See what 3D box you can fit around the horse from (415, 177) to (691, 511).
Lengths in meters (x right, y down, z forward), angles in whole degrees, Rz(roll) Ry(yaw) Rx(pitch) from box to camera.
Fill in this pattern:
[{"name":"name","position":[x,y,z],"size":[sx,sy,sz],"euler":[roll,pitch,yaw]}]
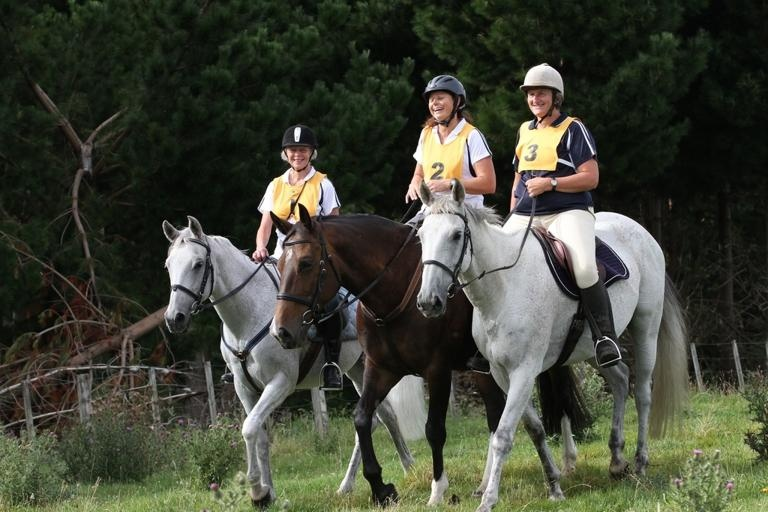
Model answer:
[{"name":"horse","position":[2.873,1.294,16.870],"size":[1.501,4.966,5.325],"euler":[-12,-9,43]}]
